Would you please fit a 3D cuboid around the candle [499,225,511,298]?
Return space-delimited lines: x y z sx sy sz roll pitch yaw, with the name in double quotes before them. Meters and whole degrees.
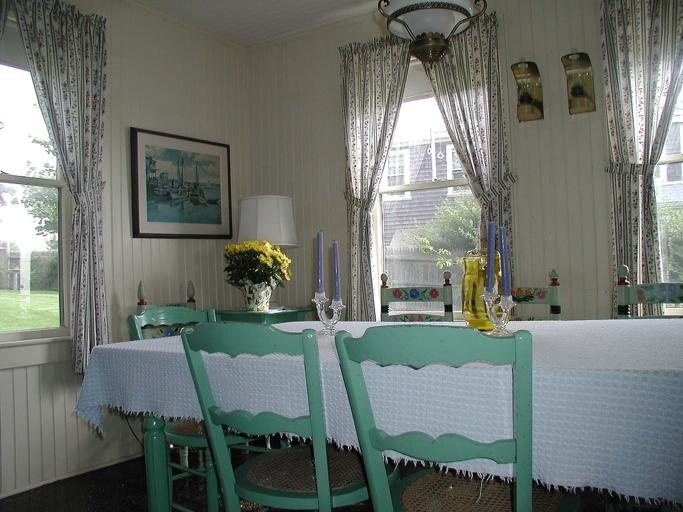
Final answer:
"candle" 0.587 0.016 1.901 0.031 0.232 0.227 -1 0 16

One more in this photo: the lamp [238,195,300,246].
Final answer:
"lamp" -0.606 -0.221 4.203 0.371 0.317 0.409 -1 -4 18

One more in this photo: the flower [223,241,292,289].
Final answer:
"flower" -0.650 0.066 4.066 0.356 0.301 0.406 6 -4 8

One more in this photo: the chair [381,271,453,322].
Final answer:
"chair" 0.455 0.253 3.323 0.425 0.280 1.024 -2 -1 4

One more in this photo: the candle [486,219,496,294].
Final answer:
"candle" 0.519 0.003 1.839 0.038 0.229 0.089 -1 0 16

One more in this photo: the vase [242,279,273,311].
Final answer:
"vase" -0.637 0.305 4.090 0.211 0.208 0.209 -5 -6 32

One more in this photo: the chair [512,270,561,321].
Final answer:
"chair" 1.211 0.243 3.255 0.252 0.440 0.229 -3 -7 33
